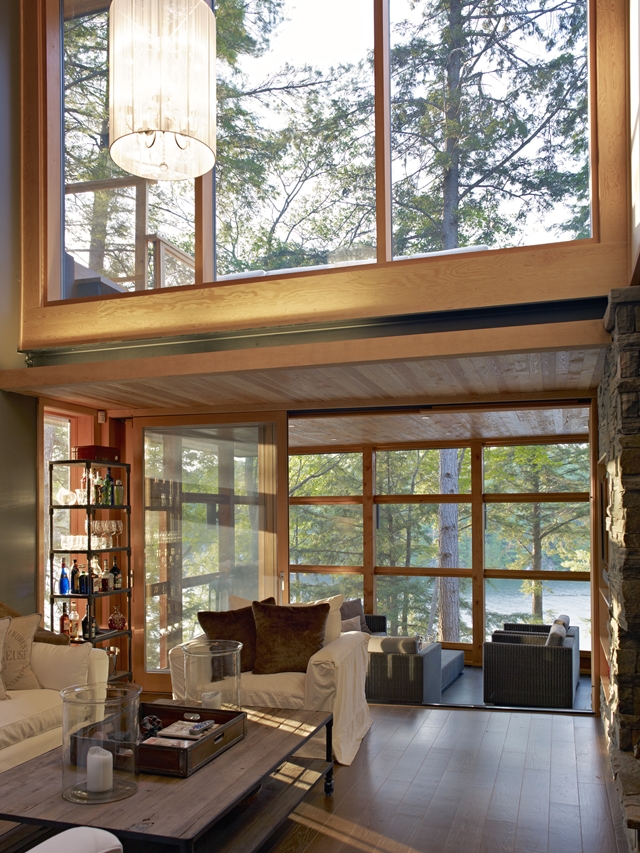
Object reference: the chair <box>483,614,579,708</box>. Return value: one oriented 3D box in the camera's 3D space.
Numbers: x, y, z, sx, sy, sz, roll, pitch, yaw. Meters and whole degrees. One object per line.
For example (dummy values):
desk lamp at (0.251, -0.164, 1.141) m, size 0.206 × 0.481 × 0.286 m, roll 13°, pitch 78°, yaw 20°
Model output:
chair at (1.785, 2.014, 7.006) m, size 0.644 × 0.572 × 0.903 m, roll -1°, pitch -8°, yaw 19°

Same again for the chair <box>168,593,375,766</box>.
chair at (-0.318, 1.485, 4.990) m, size 1.033 × 0.784 × 0.817 m, roll 0°, pitch -6°, yaw 5°

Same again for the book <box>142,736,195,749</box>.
book at (-0.606, 1.263, 3.304) m, size 0.094 × 0.023 × 0.085 m, roll 0°, pitch -7°, yaw 6°

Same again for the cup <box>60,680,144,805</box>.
cup at (-0.772, 1.162, 3.103) m, size 0.351 × 0.360 × 0.329 m, roll -1°, pitch -5°, yaw 0°
